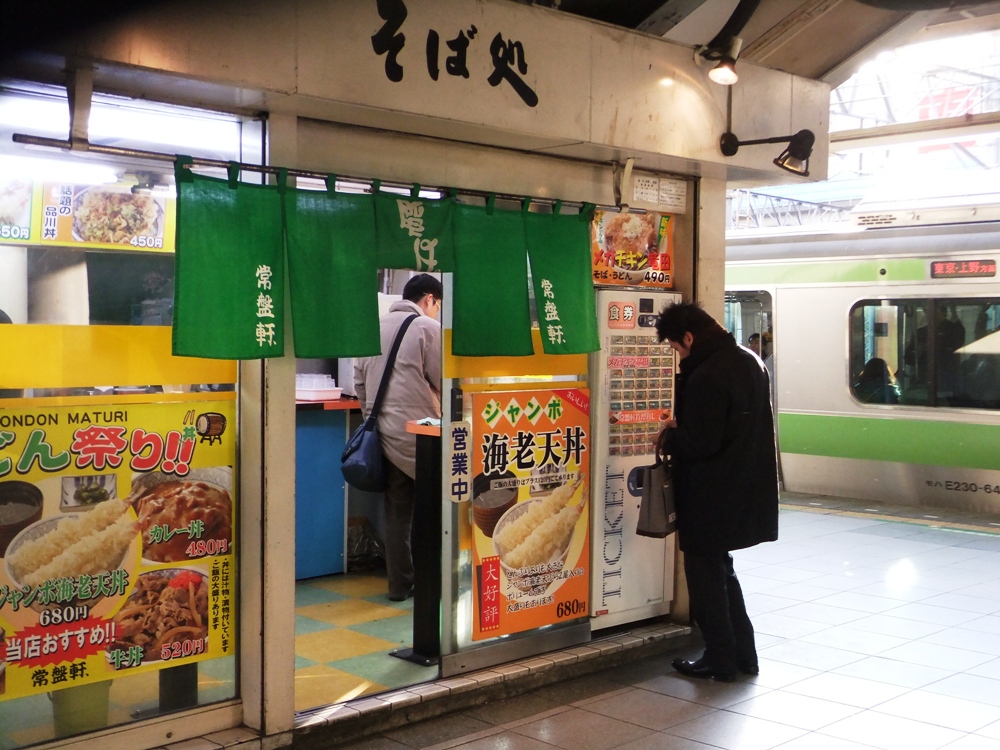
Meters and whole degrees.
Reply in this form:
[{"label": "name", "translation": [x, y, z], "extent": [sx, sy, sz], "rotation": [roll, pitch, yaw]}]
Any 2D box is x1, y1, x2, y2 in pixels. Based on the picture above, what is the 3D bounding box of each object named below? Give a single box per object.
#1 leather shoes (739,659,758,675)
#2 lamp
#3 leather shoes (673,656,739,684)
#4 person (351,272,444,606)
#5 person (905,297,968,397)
[{"label": "leather shoes", "translation": [1.707, 2.007, 5.349], "extent": [0.113, 0.117, 0.072], "rotation": [0, 0, 14]}, {"label": "lamp", "translation": [1.961, -1.971, 5.761], "extent": [1.302, 0.864, 0.361], "rotation": [-4, 3, -34]}, {"label": "leather shoes", "translation": [1.406, 2.005, 5.283], "extent": [0.347, 0.158, 0.119], "rotation": [12, 9, 37]}, {"label": "person", "translation": [-0.784, 0.526, 6.253], "extent": [0.745, 2.702, 0.731], "rotation": [-1, 3, 8]}, {"label": "person", "translation": [5.356, -0.276, 9.573], "extent": [0.627, 1.246, 0.212], "rotation": [0, 3, 27]}]
